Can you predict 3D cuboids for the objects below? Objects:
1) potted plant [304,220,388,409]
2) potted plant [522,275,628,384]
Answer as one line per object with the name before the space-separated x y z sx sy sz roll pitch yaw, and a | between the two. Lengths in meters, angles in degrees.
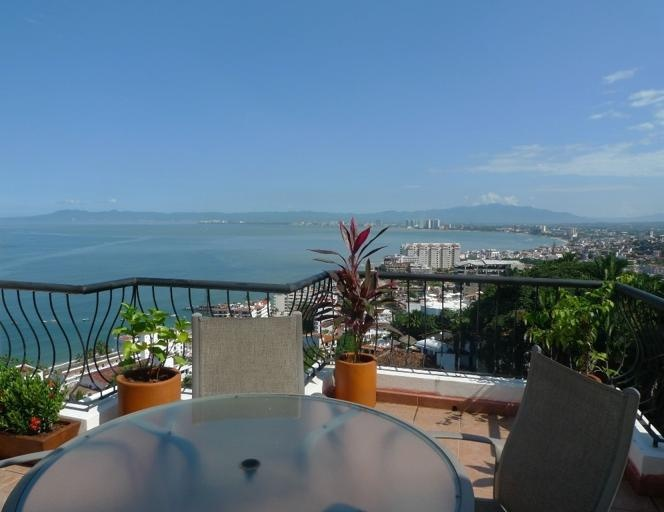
potted plant | 0.183 0.443 3.315 0.555 1.288 0.560 -2 5 16
potted plant | 1.795 0.620 3.640 0.499 0.521 0.373 -15 -1 -43
